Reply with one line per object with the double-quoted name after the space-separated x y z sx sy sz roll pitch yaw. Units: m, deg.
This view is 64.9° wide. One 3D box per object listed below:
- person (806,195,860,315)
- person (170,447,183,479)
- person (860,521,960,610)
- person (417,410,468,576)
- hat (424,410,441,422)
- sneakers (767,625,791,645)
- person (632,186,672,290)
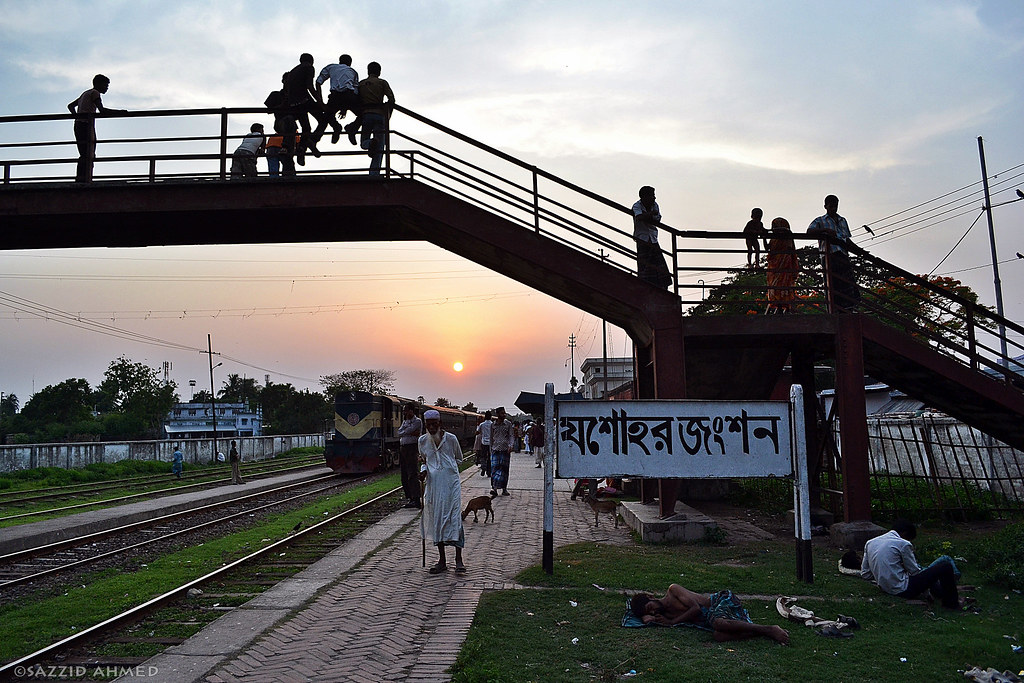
6.271 -1.753 15.836 0.741 2.366 1.206 -6 -9 33 "person"
-13.923 5.116 33.546 0.268 1.159 1.718 3 -9 -28 "person"
6.053 3.351 12.122 1.389 1.182 1.158 4 -13 -22 "person"
-1.174 2.477 13.552 0.757 2.675 1.173 0 -8 -6 "person"
-1.325 1.230 13.344 0.206 0.136 0.203 0 2 -31 "hat"
3.385 3.752 10.289 0.337 0.205 0.176 -5 -4 33 "sneakers"
2.716 -2.040 15.829 0.748 2.075 0.717 -1 -8 1 "person"
